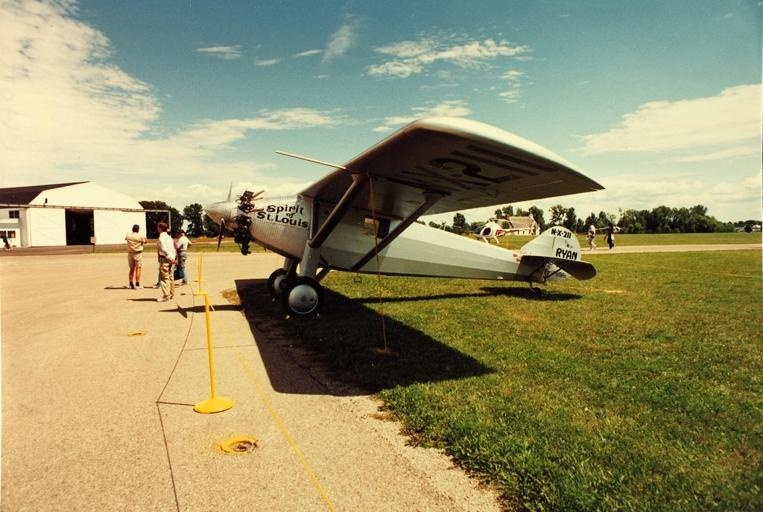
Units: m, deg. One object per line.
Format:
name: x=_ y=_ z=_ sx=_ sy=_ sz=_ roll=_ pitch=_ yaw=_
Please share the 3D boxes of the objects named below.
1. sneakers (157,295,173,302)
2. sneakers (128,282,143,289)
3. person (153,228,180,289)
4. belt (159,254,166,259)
sneakers: x=-5.809 y=1.144 z=11.872 sx=0.296 sy=0.130 sz=0.440 roll=-7 pitch=-3 yaw=44
sneakers: x=-7.847 y=0.925 z=13.950 sx=0.367 sy=0.217 sz=0.123 roll=-8 pitch=33 yaw=-26
person: x=-5.773 y=0.131 z=11.771 sx=0.439 sy=2.043 sz=1.032 roll=-7 pitch=14 yaw=-27
belt: x=-5.689 y=0.003 z=11.375 sx=0.142 sy=0.044 sz=0.131 roll=6 pitch=0 yaw=-12
